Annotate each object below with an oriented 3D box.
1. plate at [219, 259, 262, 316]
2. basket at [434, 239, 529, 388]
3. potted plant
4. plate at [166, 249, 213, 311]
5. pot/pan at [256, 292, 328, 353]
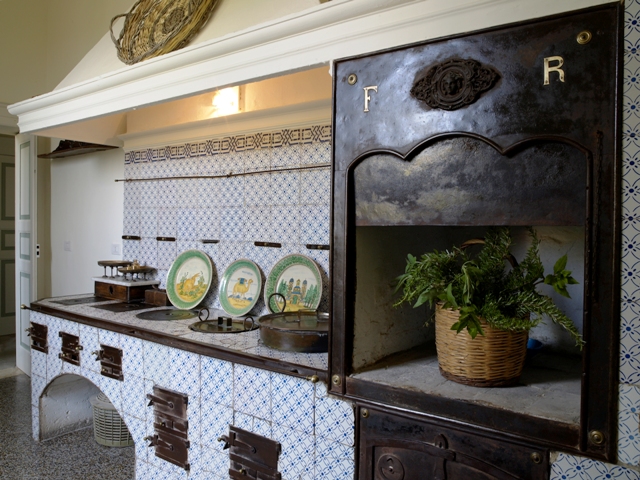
[{"bbox_3d":[-0.610,0.361,3.754,0.389,0.399,0.068,-40,-36,28],"label":"plate"},{"bbox_3d":[0.683,0.409,2.130,0.344,0.325,0.347,3,-2,15],"label":"basket"},{"bbox_3d":[0.769,0.318,2.240,0.820,0.597,0.707,3,10,19],"label":"potted plant"},{"bbox_3d":[-1.064,0.321,4.018,0.435,0.452,0.103,-32,-30,23],"label":"plate"},{"bbox_3d":[-0.159,0.516,2.890,0.400,0.180,0.521,0,2,-1],"label":"pot/pan"}]
